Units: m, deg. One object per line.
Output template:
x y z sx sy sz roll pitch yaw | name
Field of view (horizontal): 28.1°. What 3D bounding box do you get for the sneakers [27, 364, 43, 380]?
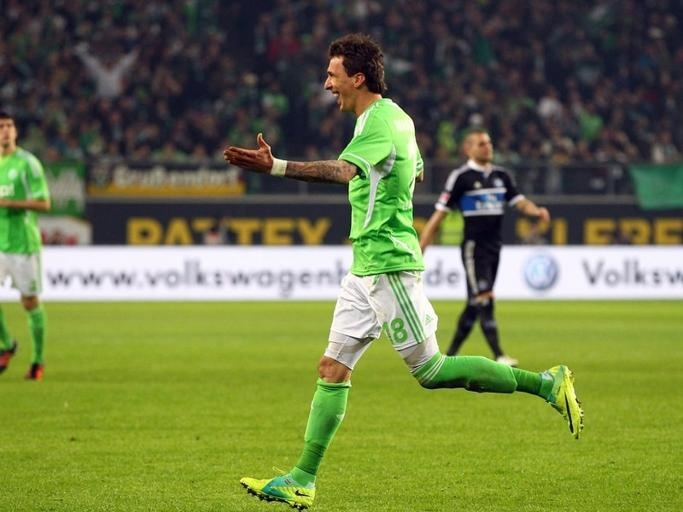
-3.381 1.274 15.051 0.190 0.203 0.154 7 -32 -12 | sneakers
